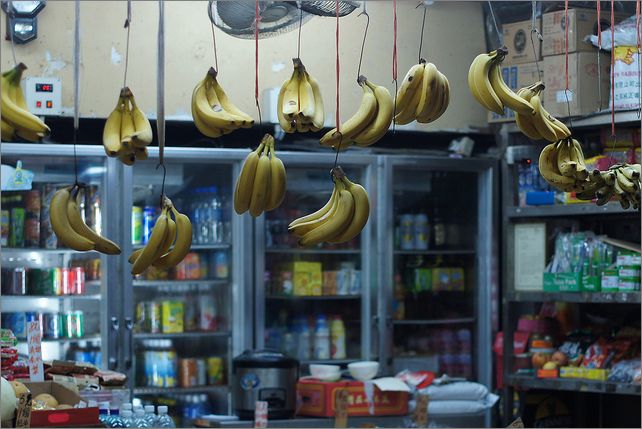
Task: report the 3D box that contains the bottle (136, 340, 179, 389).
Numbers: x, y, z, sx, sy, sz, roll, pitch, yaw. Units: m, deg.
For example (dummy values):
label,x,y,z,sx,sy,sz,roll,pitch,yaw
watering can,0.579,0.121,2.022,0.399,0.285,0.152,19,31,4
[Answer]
label,x,y,z,sx,sy,sz,roll,pitch,yaw
bottle,-1.308,1.224,9.413,0.288,0.410,0.318,3,-12,-22

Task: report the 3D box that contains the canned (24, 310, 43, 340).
label,x,y,z,sx,sy,sz,roll,pitch,yaw
canned,-2.198,0.863,9.029,0.130,0.202,0.287,2,-6,-28

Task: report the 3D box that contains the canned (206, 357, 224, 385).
label,x,y,z,sx,sy,sz,roll,pitch,yaw
canned,-0.852,1.277,9.391,0.149,0.214,0.171,2,-8,-7

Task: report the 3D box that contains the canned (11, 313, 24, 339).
label,x,y,z,sx,sy,sz,roll,pitch,yaw
canned,-2.345,0.869,9.059,0.113,0.196,0.074,1,-5,-20

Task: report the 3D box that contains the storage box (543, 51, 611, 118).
label,x,y,z,sx,sy,sz,roll,pitch,yaw
storage box,1.956,-1.014,8.973,0.431,0.623,0.248,-5,2,-5

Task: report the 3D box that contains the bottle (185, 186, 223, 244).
label,x,y,z,sx,sy,sz,roll,pitch,yaw
bottle,-0.926,0.023,9.363,0.204,0.519,0.211,-2,-1,0

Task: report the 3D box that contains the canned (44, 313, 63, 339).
label,x,y,z,sx,sy,sz,roll,pitch,yaw
canned,-2.087,0.877,9.084,0.156,0.196,0.062,-2,-5,19

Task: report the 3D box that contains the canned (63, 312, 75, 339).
label,x,y,z,sx,sy,sz,roll,pitch,yaw
canned,-1.955,0.867,9.079,0.092,0.196,0.037,1,-5,-16

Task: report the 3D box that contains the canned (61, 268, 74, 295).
label,x,y,z,sx,sy,sz,roll,pitch,yaw
canned,-1.971,0.528,9.095,0.103,0.198,0.039,2,-6,-29

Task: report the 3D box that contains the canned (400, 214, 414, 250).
label,x,y,z,sx,sy,sz,roll,pitch,yaw
canned,-0.855,1.270,9.474,0.165,0.230,0.168,-1,0,-44

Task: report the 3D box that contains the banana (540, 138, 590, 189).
label,x,y,z,sx,sy,sz,roll,pitch,yaw
banana,1.576,-0.311,7.704,0.196,0.364,0.209,-6,-29,-22

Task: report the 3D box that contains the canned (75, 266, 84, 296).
label,x,y,z,sx,sy,sz,roll,pitch,yaw
canned,-1.881,0.530,9.149,0.047,0.213,0.126,-2,-5,21

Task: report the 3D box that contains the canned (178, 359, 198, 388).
label,x,y,z,sx,sy,sz,roll,pitch,yaw
canned,-1.060,1.280,9.323,0.156,0.226,0.174,2,-8,-17

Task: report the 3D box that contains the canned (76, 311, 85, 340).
label,x,y,z,sx,sy,sz,roll,pitch,yaw
canned,-1.879,0.871,9.155,0.055,0.203,0.151,-1,-5,3

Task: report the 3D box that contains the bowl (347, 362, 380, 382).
label,x,y,z,sx,sy,sz,roll,pitch,yaw
bowl,0.289,1.082,8.013,0.130,0.094,0.141,1,-7,0

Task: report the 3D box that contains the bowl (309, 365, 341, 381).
label,x,y,z,sx,sy,sz,roll,pitch,yaw
bowl,0.024,1.102,8.034,0.229,0.115,0.148,-2,-6,19
